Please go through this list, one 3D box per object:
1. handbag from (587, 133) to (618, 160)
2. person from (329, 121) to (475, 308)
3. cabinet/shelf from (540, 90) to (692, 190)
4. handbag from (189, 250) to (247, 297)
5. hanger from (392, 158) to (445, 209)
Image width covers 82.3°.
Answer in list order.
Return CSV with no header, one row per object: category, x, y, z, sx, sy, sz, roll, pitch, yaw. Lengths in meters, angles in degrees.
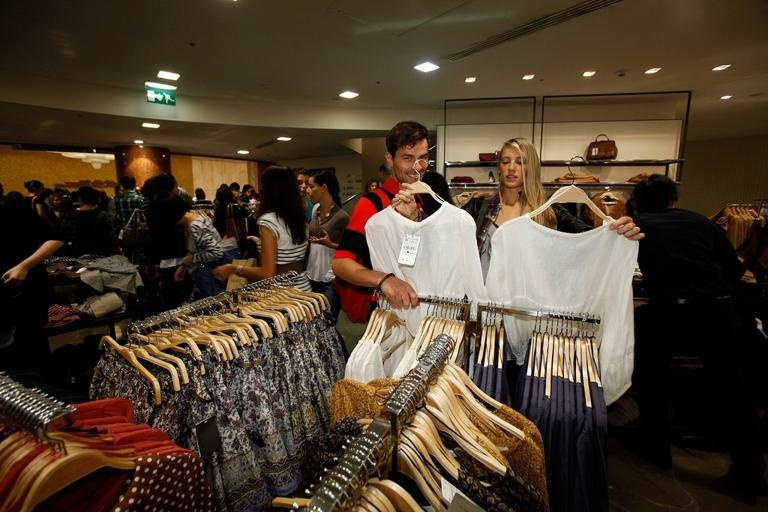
handbag,3.830,-1.868,7.585,0.470,0.501,0.215,5,6,40
person,0.120,-0.262,3.287,1.056,1.407,0.642,-8,21,-24
cabinet/shelf,3.986,-1.994,7.498,2.017,2.042,0.677,1,5,12
handbag,-1.587,0.161,4.171,0.376,0.303,0.216,-14,4,30
hanger,0.206,-0.539,3.163,0.128,0.332,0.320,-17,39,-41
